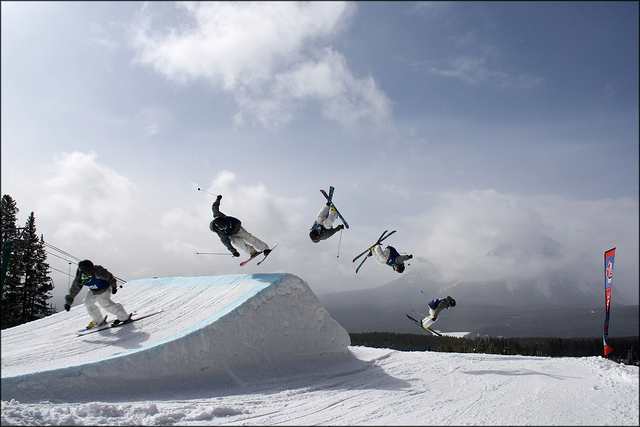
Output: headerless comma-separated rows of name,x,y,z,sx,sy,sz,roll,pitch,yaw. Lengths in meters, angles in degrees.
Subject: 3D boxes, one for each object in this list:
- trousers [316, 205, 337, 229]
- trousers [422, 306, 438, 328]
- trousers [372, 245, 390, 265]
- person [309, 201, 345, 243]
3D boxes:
trousers,0.343,0.087,21.012,0.849,1.109,0.450,25,-8,0
trousers,5.558,5.212,22.368,0.548,1.051,1.154,2,-1,-16
trousers,2.916,1.900,21.126,0.330,0.880,0.955,2,-1,-27
person,0.142,0.416,20.806,1.521,1.973,0.691,38,-2,10
